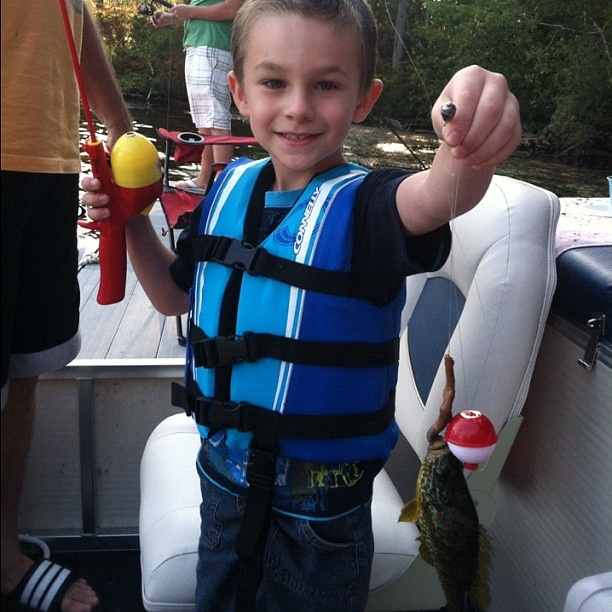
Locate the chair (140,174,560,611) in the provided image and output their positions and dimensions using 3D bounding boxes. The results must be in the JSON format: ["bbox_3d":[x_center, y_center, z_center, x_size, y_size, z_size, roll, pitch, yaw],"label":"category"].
[{"bbox_3d":[0.076,0.015,1.450,0.884,1.093,0.679,-1,23,-14],"label":"chair"}]
